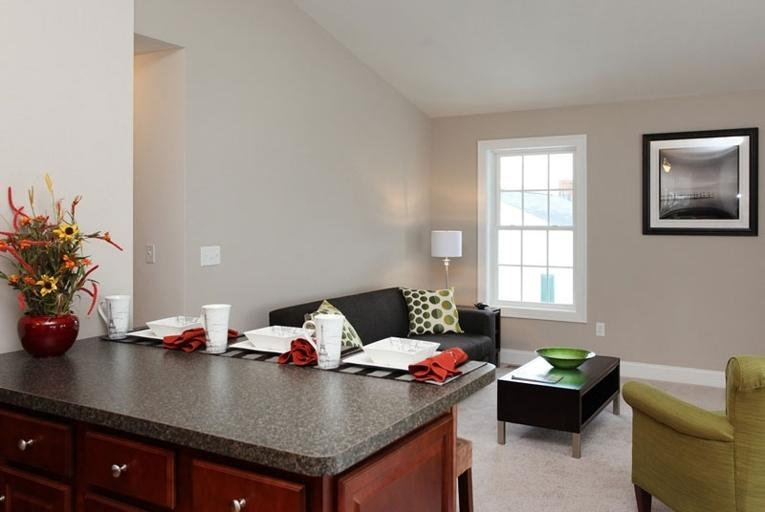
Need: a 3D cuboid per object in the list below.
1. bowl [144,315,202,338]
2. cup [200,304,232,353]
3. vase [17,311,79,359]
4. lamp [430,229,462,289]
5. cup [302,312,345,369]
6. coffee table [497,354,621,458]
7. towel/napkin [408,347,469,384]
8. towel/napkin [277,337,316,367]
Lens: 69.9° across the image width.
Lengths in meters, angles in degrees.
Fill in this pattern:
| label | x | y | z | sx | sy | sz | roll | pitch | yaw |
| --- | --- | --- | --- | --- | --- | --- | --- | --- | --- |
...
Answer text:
| label | x | y | z | sx | sy | sz | roll | pitch | yaw |
| --- | --- | --- | --- | --- | --- | --- | --- | --- | --- |
| bowl | -1.054 | 0.350 | 2.760 | 0.185 | 0.060 | 0.182 | -1 | 2 | 0 |
| cup | -0.779 | 0.333 | 2.579 | 0.119 | 0.228 | 0.183 | -6 | 15 | -18 |
| vase | -1.516 | 0.357 | 2.490 | 0.205 | 0.146 | 0.211 | 1 | -4 | -8 |
| lamp | 0.709 | 0.049 | 6.100 | 0.344 | 0.727 | 0.540 | 1 | 15 | 8 |
| cup | -0.229 | 0.358 | 2.341 | 0.114 | 0.230 | 0.127 | -6 | 15 | -15 |
| coffee table | 1.245 | 0.862 | 4.004 | 0.580 | 0.395 | 1.051 | -2 | 1 | 31 |
| towel/napkin | 0.241 | 0.446 | 2.263 | 0.115 | 0.060 | 0.200 | -4 | 1 | 39 |
| towel/napkin | -0.366 | 0.421 | 2.405 | 0.126 | 0.048 | 0.126 | 1 | 2 | 31 |
